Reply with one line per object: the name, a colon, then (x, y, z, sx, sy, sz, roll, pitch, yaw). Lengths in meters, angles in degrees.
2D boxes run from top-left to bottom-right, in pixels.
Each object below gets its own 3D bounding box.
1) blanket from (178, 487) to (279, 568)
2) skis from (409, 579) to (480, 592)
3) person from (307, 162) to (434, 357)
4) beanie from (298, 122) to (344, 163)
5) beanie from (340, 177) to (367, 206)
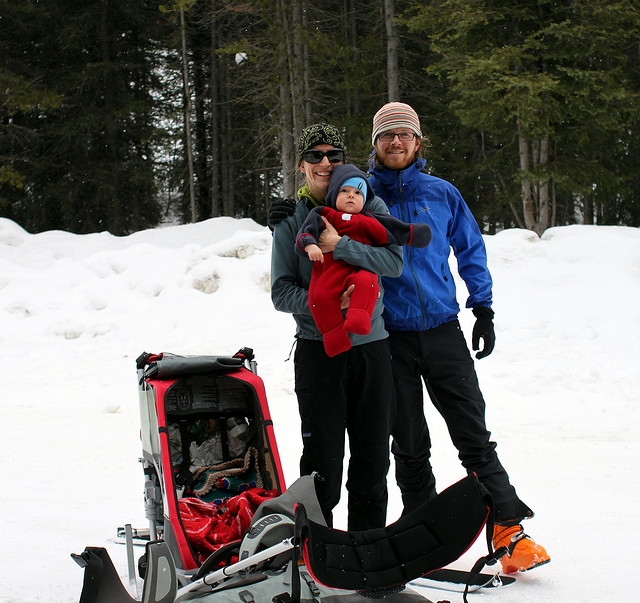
blanket: (-0.694, 1.596, 5.933, 0.593, 0.521, 0.320, -3, 0, -10)
skis: (0.877, 2.005, 5.850, 0.484, 0.077, 0.112, -3, 0, 26)
person: (0.268, -0.306, 5.690, 0.753, 1.323, 0.432, -4, 0, -1)
beanie: (0.000, -1.134, 5.888, 0.327, 0.268, 0.194, -3, 0, -1)
beanie: (0.227, -0.769, 5.760, 0.147, 0.157, 0.096, -7, 18, 13)
